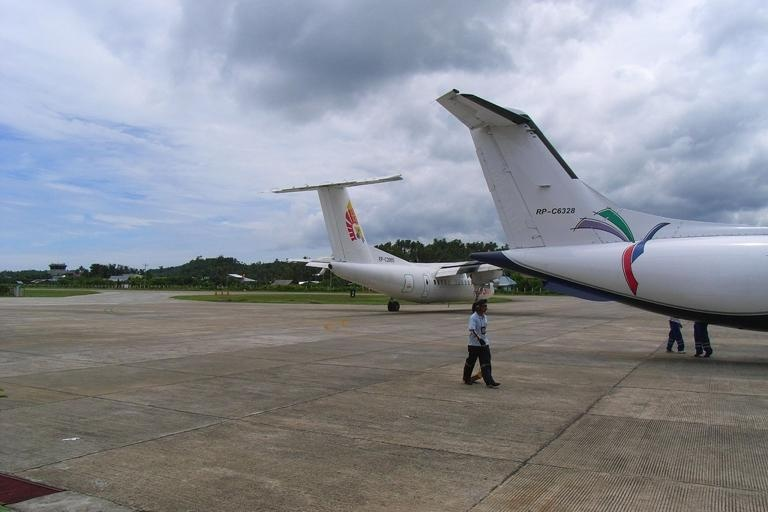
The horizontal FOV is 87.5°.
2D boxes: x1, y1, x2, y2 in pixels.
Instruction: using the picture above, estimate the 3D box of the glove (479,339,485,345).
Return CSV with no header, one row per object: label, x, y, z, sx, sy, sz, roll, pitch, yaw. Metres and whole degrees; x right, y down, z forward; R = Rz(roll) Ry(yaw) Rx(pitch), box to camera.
glove,2.279,1.963,9.223,0.156,0.160,0.038,-3,-6,-30
